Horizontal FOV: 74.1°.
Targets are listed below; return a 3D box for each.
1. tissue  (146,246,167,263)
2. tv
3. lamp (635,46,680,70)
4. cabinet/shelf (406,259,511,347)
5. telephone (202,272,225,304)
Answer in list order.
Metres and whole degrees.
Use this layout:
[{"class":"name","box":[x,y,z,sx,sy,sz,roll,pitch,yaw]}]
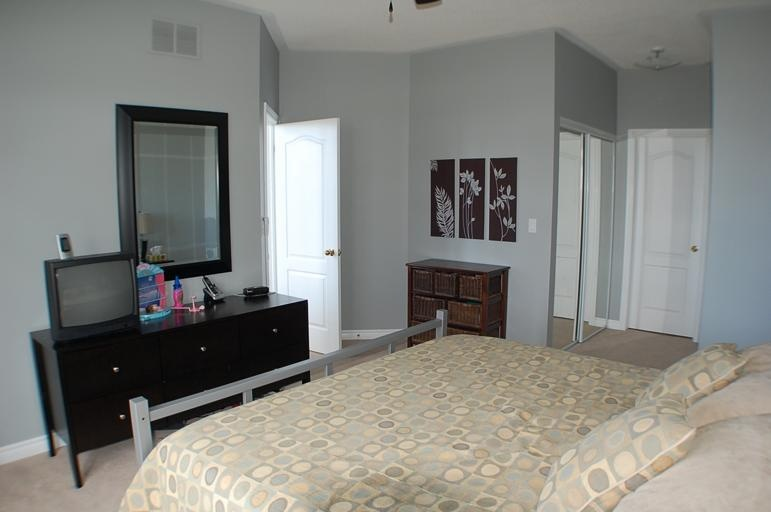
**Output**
[{"class":"tissue ","box":[-1.848,-0.020,4.187,0.123,0.142,0.150,10,11,39]},{"class":"tv","box":[-2.027,0.299,3.542,0.580,0.575,0.351,-7,4,-41]},{"class":"lamp","box":[2.903,-2.115,5.502,0.423,0.111,0.686,2,8,32]},{"class":"cabinet/shelf","box":[0.713,0.454,4.849,0.872,0.865,0.372,2,4,33]},{"class":"telephone","box":[-1.460,0.292,4.316,0.211,0.277,0.198,-2,-1,6]}]
